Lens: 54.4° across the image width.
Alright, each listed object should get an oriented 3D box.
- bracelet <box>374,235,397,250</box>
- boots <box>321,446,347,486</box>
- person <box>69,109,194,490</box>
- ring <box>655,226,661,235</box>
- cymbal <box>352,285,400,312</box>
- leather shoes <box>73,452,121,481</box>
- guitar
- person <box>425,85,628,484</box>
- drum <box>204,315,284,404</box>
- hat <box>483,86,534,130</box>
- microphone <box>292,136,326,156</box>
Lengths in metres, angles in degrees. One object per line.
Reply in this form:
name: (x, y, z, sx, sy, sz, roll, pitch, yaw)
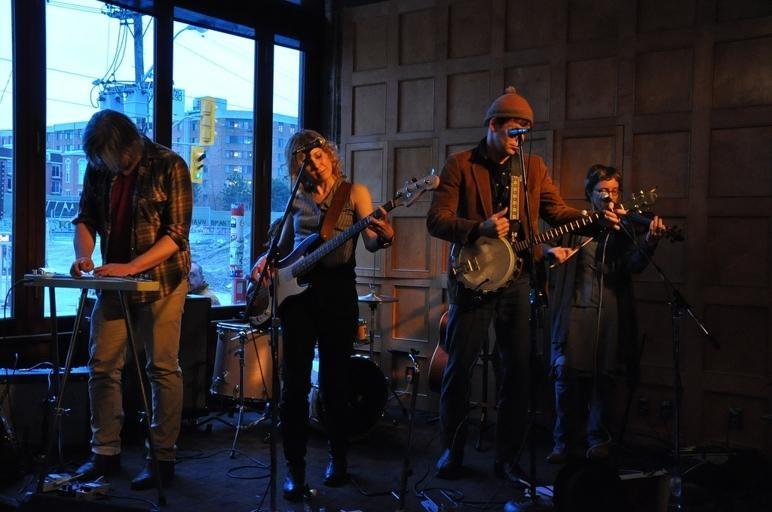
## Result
bracelet: (-0.008, -0.095, 4.708, 0.040, 0.084, 0.110, 7, -1, -40)
boots: (-0.354, 1.403, 5.085, 0.107, 0.225, 0.242, -4, 6, 37)
person: (-1.715, 0.286, 4.987, 0.785, 2.094, 0.693, 4, -2, -9)
ring: (1.765, -0.176, 4.908, 0.048, 0.050, 0.015, 7, 19, 13)
cymbal: (-0.078, 0.368, 6.302, 0.247, 0.103, 0.253, -1, 15, 10)
leather shoes: (-1.928, 1.427, 5.072, 0.355, 0.226, 0.115, 10, -14, -33)
guitar: (-0.375, -0.020, 4.758, 1.225, 0.680, 0.533, 3, -2, 12)
person: (0.642, 0.210, 5.011, 0.665, 2.636, 0.548, 2, -3, 38)
drum: (-1.140, 0.792, 6.173, 0.657, 0.638, 0.665, 3, 2, -12)
hat: (0.815, -0.988, 4.975, 0.358, 0.271, 0.376, 2, 0, 13)
microphone: (-0.465, -0.711, 4.615, 0.159, 0.048, 0.124, -21, 2, -11)
